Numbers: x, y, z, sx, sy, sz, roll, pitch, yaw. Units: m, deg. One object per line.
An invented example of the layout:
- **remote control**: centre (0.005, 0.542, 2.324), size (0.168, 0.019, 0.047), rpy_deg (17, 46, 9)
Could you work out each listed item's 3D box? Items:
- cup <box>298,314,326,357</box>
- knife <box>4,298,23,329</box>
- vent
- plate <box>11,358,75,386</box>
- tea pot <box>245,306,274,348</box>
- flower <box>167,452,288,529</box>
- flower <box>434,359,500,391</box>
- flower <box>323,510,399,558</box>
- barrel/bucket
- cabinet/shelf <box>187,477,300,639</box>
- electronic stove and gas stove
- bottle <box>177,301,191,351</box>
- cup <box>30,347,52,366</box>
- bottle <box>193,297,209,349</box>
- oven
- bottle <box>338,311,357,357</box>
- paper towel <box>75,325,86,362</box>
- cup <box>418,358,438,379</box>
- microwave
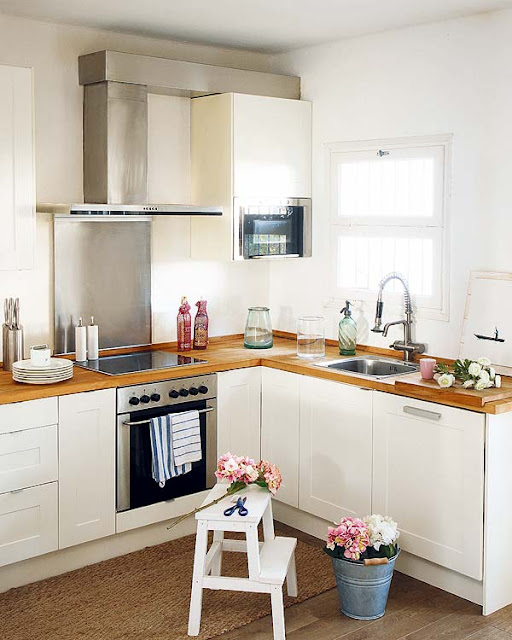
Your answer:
- **cup**: centre (0.322, 0.098, 3.282), size (0.155, 0.238, 0.218), rpy_deg (0, -1, 4)
- **knife**: centre (-1.225, -0.039, 2.813), size (0.078, 0.156, 0.205), rpy_deg (0, -1, -24)
- **vent**: centre (-0.687, -0.922, 2.990), size (0.951, 0.705, 0.513), rpy_deg (-9, 15, -41)
- **plate**: centre (-0.969, 0.228, 2.553), size (0.259, 0.104, 0.244), rpy_deg (0, -1, -32)
- **tea pot**: centre (0.004, 0.046, 3.632), size (0.209, 0.295, 0.257), rpy_deg (1, 7, -7)
- **flower**: centre (-0.078, 0.631, 2.121), size (0.301, 0.181, 0.359), rpy_deg (-6, 10, 5)
- **flower**: centre (0.847, 0.197, 2.287), size (0.149, 0.102, 0.189), rpy_deg (-1, -1, -33)
- **flower**: centre (0.392, 0.817, 2.179), size (0.190, 0.137, 0.196), rpy_deg (-2, 1, 41)
- **barrel/bucket**: centre (0.430, 1.033, 2.244), size (0.251, 0.233, 0.278), rpy_deg (1, -4, -19)
- **cabinet/shelf**: centre (-0.044, 0.909, 2.177), size (0.410, 0.508, 0.510), rpy_deg (0, -1, 4)
- **electronic stove and gas stove**: centre (-0.636, 0.219, 3.040), size (0.616, 0.095, 0.619), rpy_deg (1, -1, -42)
- **bottle**: centre (-0.441, 0.041, 3.467), size (0.090, 0.296, 0.148), rpy_deg (0, -1, -8)
- **cup**: centre (-0.991, 0.158, 2.554), size (0.067, 0.083, 0.085), rpy_deg (8, 10, 44)
- **bottle**: centre (-0.352, 0.028, 3.526), size (0.090, 0.299, 0.109), rpy_deg (0, -1, -9)
- **oven**: centre (-0.422, 0.801, 3.017), size (0.562, 0.743, 0.547), rpy_deg (-6, -39, -4)
- **bottle**: centre (0.541, 0.084, 3.293), size (0.097, 0.243, 0.153), rpy_deg (0, -1, 5)
- **paper towel**: centre (-0.936, 0.125, 2.988), size (0.058, 0.186, 0.088), rpy_deg (0, -1, -20)
- **cup**: centre (0.758, 0.213, 2.498), size (0.060, 0.087, 0.096), rpy_deg (0, 7, 3)
- **microwave**: centre (0.100, -0.570, 3.454), size (0.574, 0.373, 0.373), rpy_deg (-6, 7, -43)
